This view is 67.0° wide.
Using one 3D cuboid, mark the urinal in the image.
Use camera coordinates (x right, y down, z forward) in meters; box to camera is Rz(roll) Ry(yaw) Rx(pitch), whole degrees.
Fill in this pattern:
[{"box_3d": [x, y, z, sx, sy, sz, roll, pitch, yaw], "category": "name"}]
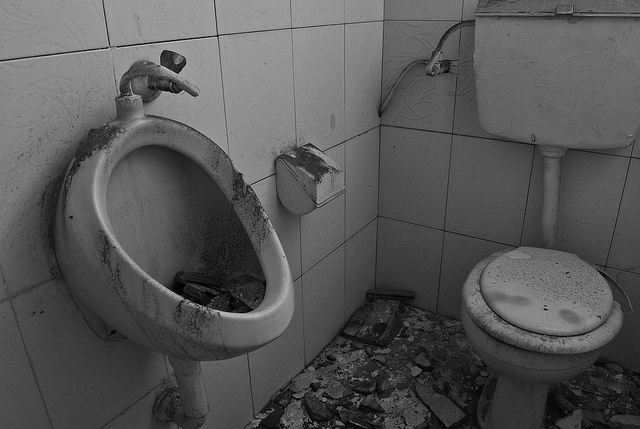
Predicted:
[{"box_3d": [-0.324, 0.185, 1.184, 0.464, 1.074, 0.502, -21, 29, -36], "category": "urinal"}]
